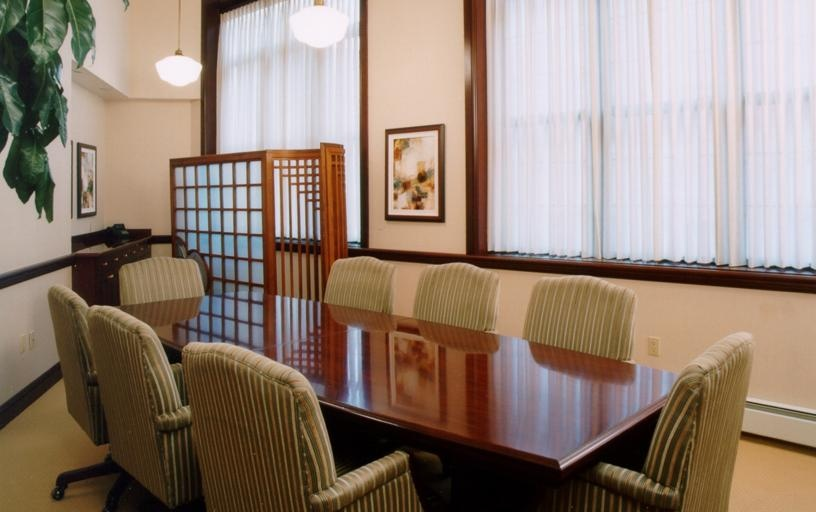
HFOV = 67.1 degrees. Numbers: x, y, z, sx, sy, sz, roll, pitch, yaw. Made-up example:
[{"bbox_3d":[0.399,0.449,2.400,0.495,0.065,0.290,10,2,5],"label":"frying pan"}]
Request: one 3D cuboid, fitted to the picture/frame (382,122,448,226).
[{"bbox_3d":[0.093,-0.839,6.139,0.920,1.429,0.134,1,1,30],"label":"picture/frame"}]
